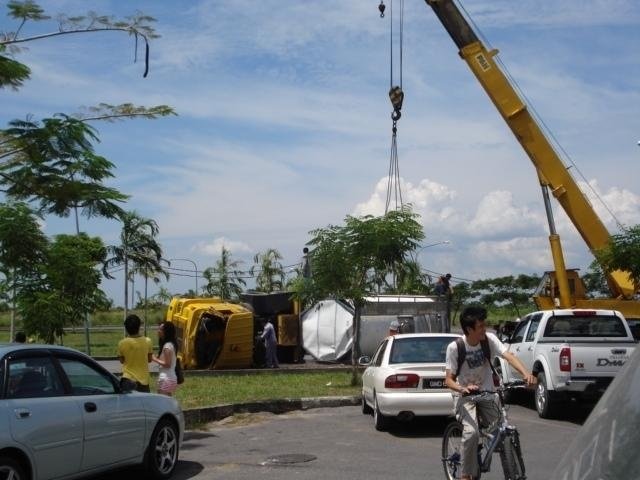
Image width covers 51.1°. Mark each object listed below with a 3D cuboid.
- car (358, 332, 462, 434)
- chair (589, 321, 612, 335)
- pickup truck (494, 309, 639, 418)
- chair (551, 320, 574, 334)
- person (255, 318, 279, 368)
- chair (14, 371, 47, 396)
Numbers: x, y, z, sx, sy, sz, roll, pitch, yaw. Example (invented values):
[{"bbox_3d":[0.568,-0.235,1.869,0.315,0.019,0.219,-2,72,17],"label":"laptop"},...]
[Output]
[{"bbox_3d":[1.469,2.518,12.338,1.109,0.900,2.541,0,-4,-5],"label":"car"},{"bbox_3d":[5.739,1.803,13.608,0.300,0.230,0.235,1,2,5],"label":"chair"},{"bbox_3d":[5.117,2.821,14.635,2.327,1.998,4.405,-1,-2,-6],"label":"pickup truck"},{"bbox_3d":[4.959,1.783,13.786,0.375,0.294,0.284,1,-2,-1],"label":"chair"},{"bbox_3d":[-1.892,3.809,24.663,0.747,1.563,2.589,0,-5,-5],"label":"person"},{"bbox_3d":[-3.155,1.567,7.364,0.225,0.255,0.245,-11,-10,44],"label":"chair"}]
